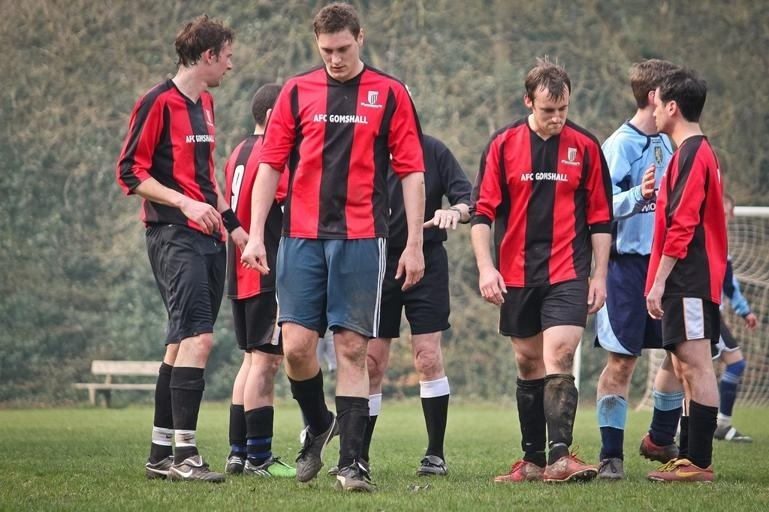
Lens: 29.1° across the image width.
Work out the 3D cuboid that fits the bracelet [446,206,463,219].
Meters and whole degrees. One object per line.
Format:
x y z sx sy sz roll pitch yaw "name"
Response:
1.021 -0.635 21.427 0.141 0.182 0.209 -12 22 -28 "bracelet"
